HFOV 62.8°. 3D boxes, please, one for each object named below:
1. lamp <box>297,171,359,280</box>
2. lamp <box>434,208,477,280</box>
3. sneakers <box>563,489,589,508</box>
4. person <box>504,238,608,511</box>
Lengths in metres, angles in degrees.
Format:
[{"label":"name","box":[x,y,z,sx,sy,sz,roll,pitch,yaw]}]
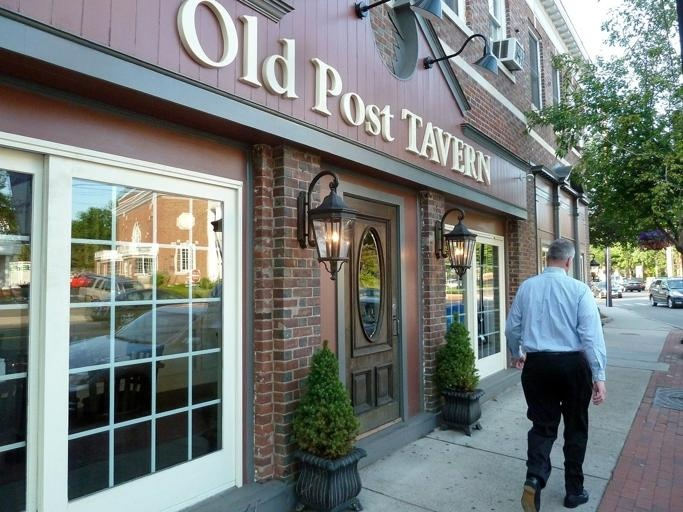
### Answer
[{"label":"lamp","box":[-0.145,-0.317,5.405,0.402,1.070,0.631,0,-3,-38]},{"label":"lamp","box":[1.524,-0.186,7.443,0.479,0.937,0.447,0,-11,12]},{"label":"sneakers","box":[2.186,2.258,5.191,0.281,0.136,0.101,-2,2,-43]},{"label":"person","box":[2.029,1.084,5.306,0.794,2.510,0.648,-2,-2,6]}]
